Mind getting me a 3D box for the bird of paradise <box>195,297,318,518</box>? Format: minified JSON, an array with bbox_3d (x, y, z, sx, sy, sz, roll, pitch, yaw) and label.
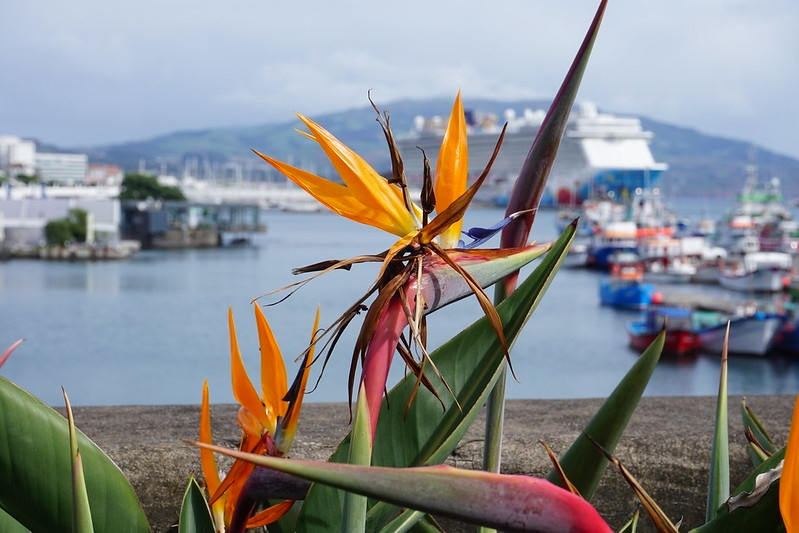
[{"bbox_3d":[-1.613,1.704,14.556,1.265,2.602,0.441,0,5,-11],"label":"bird of paradise"}]
